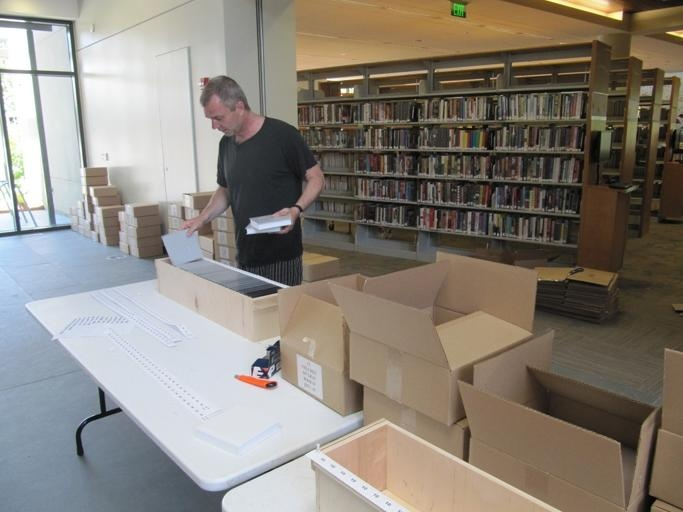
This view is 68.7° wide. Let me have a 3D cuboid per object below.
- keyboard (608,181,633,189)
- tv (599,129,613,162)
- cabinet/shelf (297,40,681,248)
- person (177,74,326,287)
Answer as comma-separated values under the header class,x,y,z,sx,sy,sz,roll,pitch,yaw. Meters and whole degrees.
class,x,y,z,sx,sy,sz,roll,pitch,yaw
keyboard,2.996,-0.749,5.367,0.199,0.044,0.331,9,17,36
tv,3.033,-1.260,5.751,0.123,0.355,0.678,6,15,26
cabinet/shelf,2.039,-1.428,6.840,1.519,2.040,3.892,-17,21,-40
person,-0.466,-0.087,2.812,0.689,1.695,0.501,8,21,27
